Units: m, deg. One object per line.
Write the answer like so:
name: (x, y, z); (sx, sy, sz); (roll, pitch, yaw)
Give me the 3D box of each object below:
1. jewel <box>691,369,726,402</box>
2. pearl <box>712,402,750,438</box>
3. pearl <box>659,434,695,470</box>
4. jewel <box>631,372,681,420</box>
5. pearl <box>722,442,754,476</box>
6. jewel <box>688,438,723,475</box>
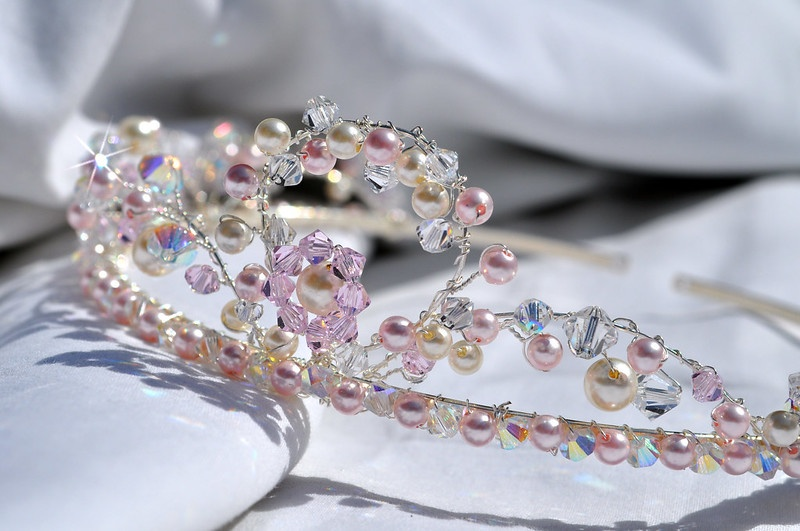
jewel: (0.498, 0.194, 1.311); (0.053, 0.017, 0.051); (37, 90, 12)
pearl: (0.536, 0.250, 1.302); (0.064, 0.047, 0.058); (6, 84, -2)
pearl: (0.448, 0.301, 1.310); (0.057, 0.059, 0.069); (1, 82, 23)
jewel: (0.413, 0.209, 1.304); (0.045, 0.087, 0.083); (54, 50, -34)
pearl: (0.544, 0.308, 1.301); (0.053, 0.019, 0.053); (10, 84, -2)
jewel: (0.494, 0.309, 1.301); (0.044, 0.019, 0.053); (20, 88, 0)
